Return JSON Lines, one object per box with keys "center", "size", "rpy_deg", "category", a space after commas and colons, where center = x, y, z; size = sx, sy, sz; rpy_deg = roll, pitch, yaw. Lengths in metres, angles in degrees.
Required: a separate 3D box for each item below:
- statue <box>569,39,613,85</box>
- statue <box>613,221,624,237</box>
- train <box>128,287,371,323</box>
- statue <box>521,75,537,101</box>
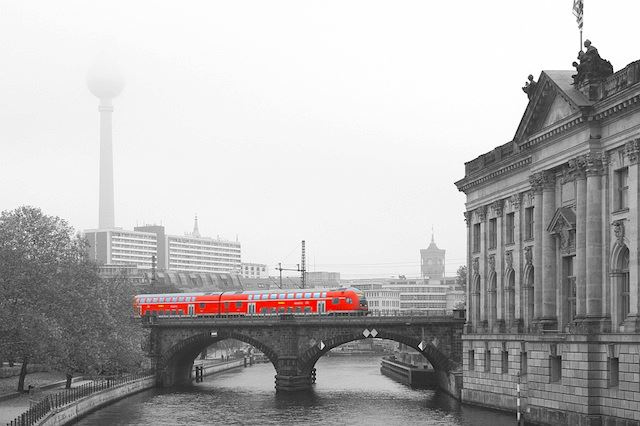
{"center": [25.146, -13.335, 93.089], "size": [3.231, 3.172, 1.287], "rpy_deg": [-6, -10, 21], "category": "statue"}
{"center": [26.826, 1.361, 89.926], "size": [1.050, 1.901, 1.176], "rpy_deg": [1, -3, 15], "category": "statue"}
{"center": [-12.636, 13.514, 151.419], "size": [41.102, 5.671, 4.832], "rpy_deg": [-4, 4, 25], "category": "train"}
{"center": [20.664, -12.015, 98.589], "size": [1.147, 2.564, 3.955], "rpy_deg": [-4, -10, 11], "category": "statue"}
